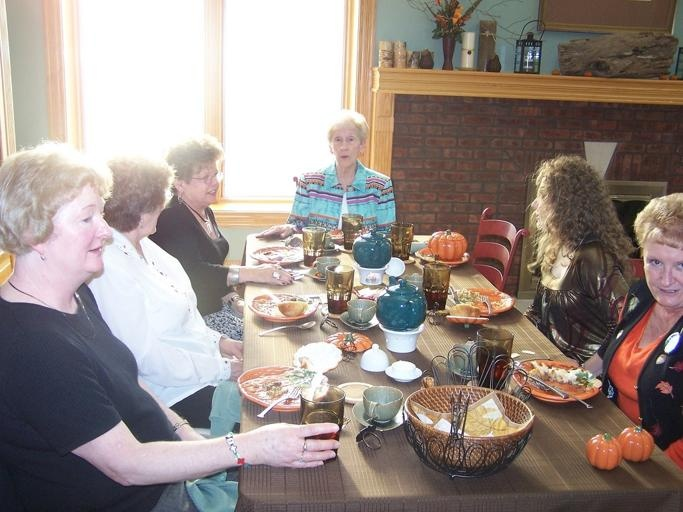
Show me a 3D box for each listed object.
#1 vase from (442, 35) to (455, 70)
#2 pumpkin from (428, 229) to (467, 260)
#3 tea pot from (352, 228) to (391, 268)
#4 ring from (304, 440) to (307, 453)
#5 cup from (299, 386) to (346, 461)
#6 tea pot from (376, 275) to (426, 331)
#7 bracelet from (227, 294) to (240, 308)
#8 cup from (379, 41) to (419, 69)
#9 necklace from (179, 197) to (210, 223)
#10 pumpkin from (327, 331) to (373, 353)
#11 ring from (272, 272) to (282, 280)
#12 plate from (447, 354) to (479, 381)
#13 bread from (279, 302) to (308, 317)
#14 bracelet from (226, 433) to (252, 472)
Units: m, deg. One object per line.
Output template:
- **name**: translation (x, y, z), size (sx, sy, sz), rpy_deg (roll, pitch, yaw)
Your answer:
- **vase**: translation (0.866, -1.652, 4.091), size (0.102, 0.271, 0.228), rpy_deg (3, 21, 11)
- **pumpkin**: translation (0.539, -0.067, 2.583), size (0.167, 0.137, 0.161), rpy_deg (1, 9, -3)
- **tea pot**: translation (0.125, -0.035, 2.210), size (0.166, 0.153, 0.161), rpy_deg (2, 4, 0)
- **ring**: translation (-0.082, 0.427, 1.120), size (0.006, 0.018, 0.014), rpy_deg (6, 1, 0)
- **cup**: translation (-0.051, 0.408, 1.238), size (0.125, 0.179, 0.111), rpy_deg (0, 22, -2)
- **tea pot**: translation (0.185, 0.165, 1.661), size (0.151, 0.143, 0.146), rpy_deg (0, 5, 0)
- **bracelet**: translation (-0.580, 0.242, 2.660), size (0.053, 0.026, 0.066), rpy_deg (1, 13, -5)
- **cup**: translation (0.471, -1.625, 4.109), size (0.327, 0.193, 0.194), rpy_deg (2, 7, 9)
- **necklace**: translation (-0.794, -0.246, 2.706), size (0.113, 0.064, 0.084), rpy_deg (45, 31, 14)
- **pumpkin**: translation (0.025, 0.283, 1.648), size (0.087, 0.035, 0.086), rpy_deg (0, 9, 25)
- **ring**: translation (-0.292, 0.092, 2.218), size (0.023, 0.030, 0.011), rpy_deg (-2, -15, 9)
- **plate**: translation (0.347, 0.314, 1.458), size (0.070, 0.087, 0.034), rpy_deg (-2, -5, 25)
- **bread**: translation (-0.183, 0.195, 1.816), size (0.068, 0.037, 0.066), rpy_deg (0, 1, 3)
- **bracelet**: translation (-0.233, 0.453, 1.154), size (0.022, 0.069, 0.055), rpy_deg (-24, -10, -15)
